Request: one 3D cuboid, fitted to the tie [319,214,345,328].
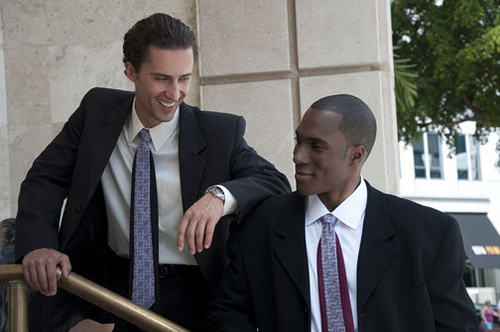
[{"bbox_3d":[0.427,0.534,3.134,0.097,0.564,0.144,0,-4,-1],"label":"tie"}]

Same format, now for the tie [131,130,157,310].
[{"bbox_3d":[-0.588,0.290,3.415,0.138,0.999,0.065,1,-4,-11],"label":"tie"}]

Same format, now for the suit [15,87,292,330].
[{"bbox_3d":[-0.748,-0.063,4.188,1.607,2.080,0.868,-2,-6,-8],"label":"suit"}]

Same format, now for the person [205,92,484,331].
[{"bbox_3d":[0.547,0.452,3.579,1.672,1.574,1.135,-4,-14,31],"label":"person"}]
